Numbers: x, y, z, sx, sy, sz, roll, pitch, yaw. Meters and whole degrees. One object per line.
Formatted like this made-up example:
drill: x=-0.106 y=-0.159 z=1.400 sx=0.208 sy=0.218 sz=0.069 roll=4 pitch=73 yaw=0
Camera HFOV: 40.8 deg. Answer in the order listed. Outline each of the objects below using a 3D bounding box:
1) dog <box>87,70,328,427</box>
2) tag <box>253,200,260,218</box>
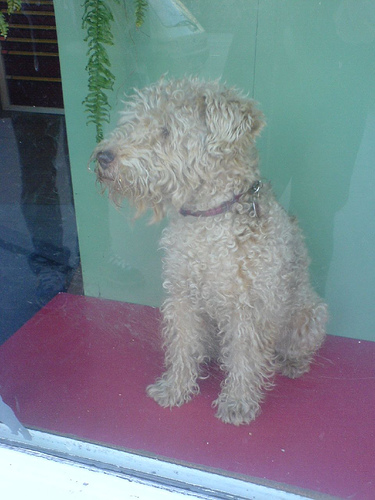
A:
dog: x=0.115 y=0.016 z=1.529 sx=0.616 sy=0.952 sz=0.655 roll=-24 pitch=45 yaw=-33
tag: x=0.195 y=-0.116 z=1.437 sx=0.015 sy=0.009 sz=0.048 roll=-11 pitch=78 yaw=-2
